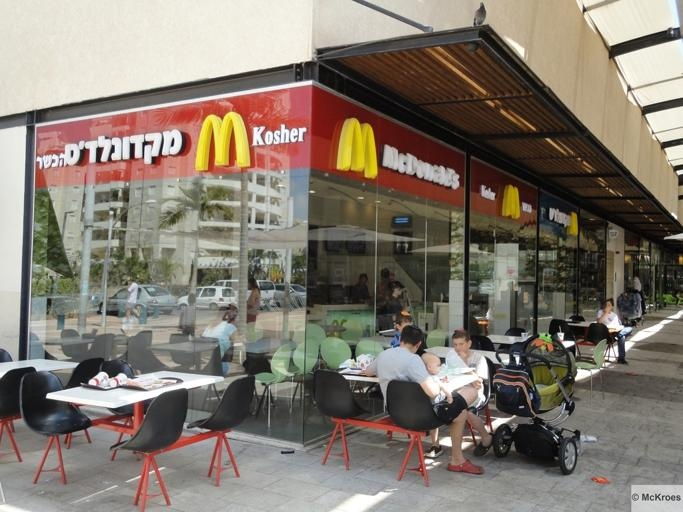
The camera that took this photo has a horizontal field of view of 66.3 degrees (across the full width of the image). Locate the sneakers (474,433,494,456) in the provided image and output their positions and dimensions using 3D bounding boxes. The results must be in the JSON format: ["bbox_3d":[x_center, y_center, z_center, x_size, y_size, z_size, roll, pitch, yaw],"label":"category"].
[{"bbox_3d":[1.823,2.404,6.736,0.108,0.409,0.165,8,10,-30],"label":"sneakers"}]

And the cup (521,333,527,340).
[{"bbox_3d":[3.583,1.574,10.232,0.092,0.174,0.176,-4,-4,39],"label":"cup"}]

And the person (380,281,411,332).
[{"bbox_3d":[0.848,0.824,8.461,0.397,0.738,0.769,-2,-3,26],"label":"person"}]

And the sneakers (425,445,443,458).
[{"bbox_3d":[1.170,2.506,6.690,0.117,0.096,0.241,-4,-9,29],"label":"sneakers"}]

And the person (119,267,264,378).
[{"bbox_3d":[-1.908,0.904,7.639,1.733,1.300,0.434,3,5,19],"label":"person"}]

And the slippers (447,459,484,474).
[{"bbox_3d":[1.473,2.472,6.230,0.299,0.118,0.170,-4,-3,22],"label":"slippers"}]
